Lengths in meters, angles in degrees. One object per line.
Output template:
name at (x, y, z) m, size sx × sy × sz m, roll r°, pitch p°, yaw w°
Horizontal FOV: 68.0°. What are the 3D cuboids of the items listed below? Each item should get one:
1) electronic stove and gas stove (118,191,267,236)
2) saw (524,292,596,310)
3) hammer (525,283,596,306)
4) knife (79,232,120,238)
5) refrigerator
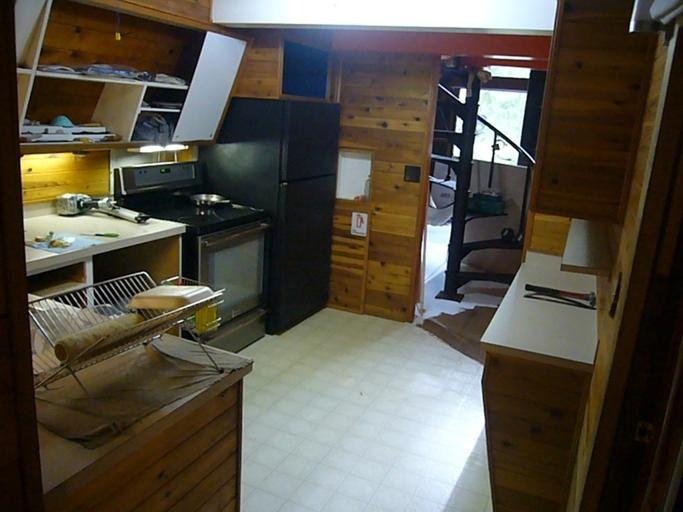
electronic stove and gas stove at (-1.107, -0.298, 3.703) m, size 0.539 × 0.161 × 0.918 m, roll 10°, pitch 15°, yaw 25°
saw at (1.136, 0.235, 2.629) m, size 0.254 × 0.037 × 0.110 m, roll 5°, pitch 32°, yaw 25°
hammer at (1.151, 0.194, 2.691) m, size 0.360 × 0.125 × 0.095 m, roll 8°, pitch 33°, yaw 18°
knife at (-1.474, -0.121, 3.060) m, size 0.165 × 0.020 × 0.031 m, roll 2°, pitch 14°, yaw 0°
refrigerator at (-0.651, -0.371, 4.536) m, size 0.886 × 1.940 × 1.223 m, roll 6°, pitch 14°, yaw 16°
